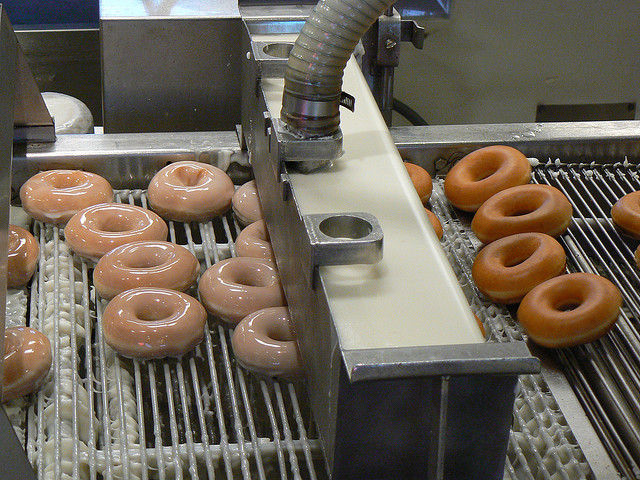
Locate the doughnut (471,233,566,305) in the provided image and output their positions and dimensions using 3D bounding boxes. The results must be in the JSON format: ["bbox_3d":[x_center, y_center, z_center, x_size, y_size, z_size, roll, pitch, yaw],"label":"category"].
[{"bbox_3d":[0.412,0.054,1.208,0.156,0.068,0.165,-16,28,5],"label":"doughnut"}]

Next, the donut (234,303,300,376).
[{"bbox_3d":[-0.105,0.180,1.079,0.113,0.049,0.166,-2,48,-11],"label":"donut"}]

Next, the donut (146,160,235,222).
[{"bbox_3d":[-0.357,-0.110,1.428,0.251,0.105,0.243,2,24,-25],"label":"donut"}]

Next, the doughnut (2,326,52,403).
[{"bbox_3d":[-0.520,0.198,1.005,0.087,0.079,0.136,-16,51,-23],"label":"doughnut"}]

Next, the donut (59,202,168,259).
[{"bbox_3d":[-0.459,-0.027,1.278,0.152,0.064,0.160,3,25,-2],"label":"donut"}]

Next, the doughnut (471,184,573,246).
[{"bbox_3d":[0.463,-0.075,1.287,0.158,0.068,0.165,-18,23,7],"label":"doughnut"}]

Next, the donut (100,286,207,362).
[{"bbox_3d":[-0.314,0.155,1.091,0.184,0.059,0.140,9,46,-1],"label":"donut"}]

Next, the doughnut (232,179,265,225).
[{"bbox_3d":[-0.180,-0.079,1.391,0.070,0.048,0.091,28,48,-21],"label":"doughnut"}]

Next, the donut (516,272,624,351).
[{"bbox_3d":[0.481,0.135,1.116,0.162,0.064,0.158,-32,31,-20],"label":"donut"}]

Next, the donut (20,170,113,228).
[{"bbox_3d":[-0.592,-0.103,1.332,0.150,0.066,0.159,1,30,-4],"label":"donut"}]
